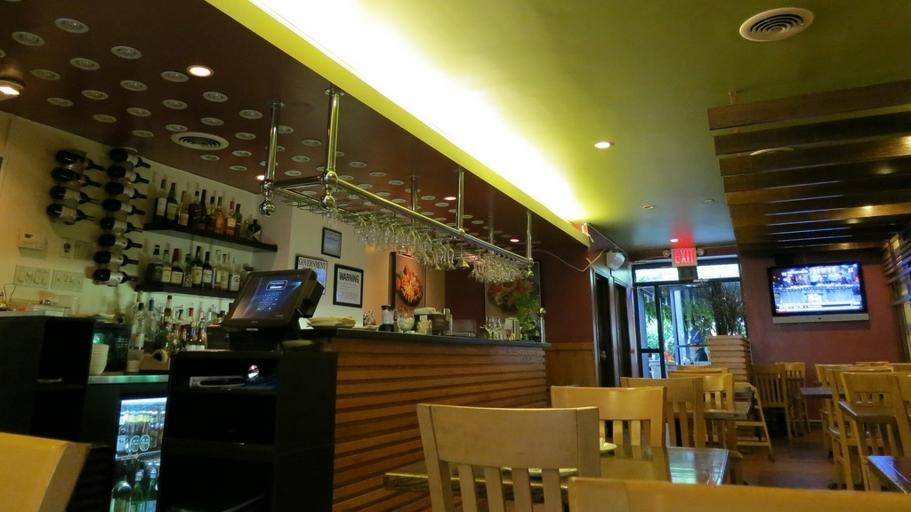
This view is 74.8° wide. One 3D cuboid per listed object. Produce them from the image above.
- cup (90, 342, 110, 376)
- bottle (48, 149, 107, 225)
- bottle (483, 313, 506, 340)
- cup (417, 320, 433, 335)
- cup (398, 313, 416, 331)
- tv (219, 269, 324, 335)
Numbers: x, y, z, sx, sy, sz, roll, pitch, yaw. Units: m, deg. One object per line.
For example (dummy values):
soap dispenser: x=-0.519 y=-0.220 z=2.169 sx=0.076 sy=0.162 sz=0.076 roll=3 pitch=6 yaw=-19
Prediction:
cup: x=-3.464 y=1.000 z=5.833 sx=0.298 sy=0.284 sz=0.284 roll=-1 pitch=0 yaw=0
bottle: x=-4.117 y=-0.737 z=6.477 sx=0.504 sy=0.767 sz=0.331 roll=9 pitch=-16 yaw=-38
bottle: x=0.533 y=0.970 z=8.048 sx=0.253 sy=0.269 sz=0.400 roll=-2 pitch=-11 yaw=5
cup: x=-0.382 y=0.810 z=6.875 sx=0.158 sy=0.156 sz=0.216 roll=-3 pitch=-11 yaw=9
cup: x=-0.555 y=0.765 z=6.844 sx=0.214 sy=0.153 sz=0.202 roll=1 pitch=-8 yaw=0
tv: x=-1.611 y=0.382 z=5.208 sx=0.780 sy=0.526 sz=0.251 roll=-4 pitch=-13 yaw=15
